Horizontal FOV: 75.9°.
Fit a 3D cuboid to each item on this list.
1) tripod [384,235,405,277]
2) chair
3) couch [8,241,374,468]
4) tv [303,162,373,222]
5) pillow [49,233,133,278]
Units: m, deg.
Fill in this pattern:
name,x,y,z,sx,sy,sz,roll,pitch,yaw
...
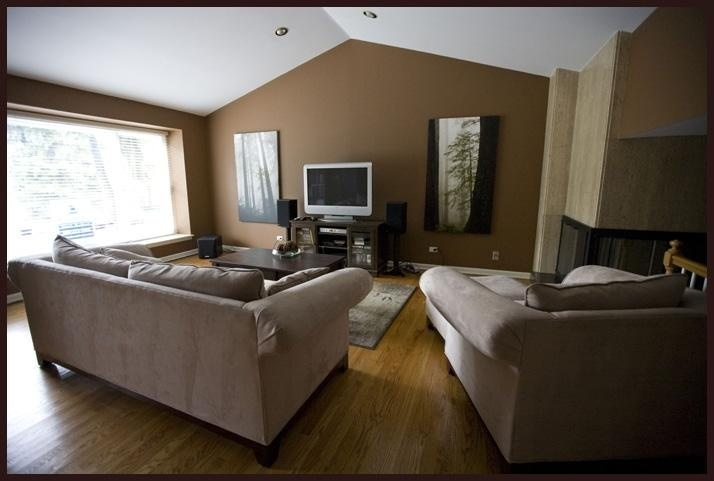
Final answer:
name,x,y,z,sx,sy,sz,roll,pitch,yaw
tripod,0.460,0.139,5.919,0.229,0.530,0.619,-1,7,4
chair,1.455,0.760,3.145,1.216,0.809,1.911,-4,7,-4
couch,-1.235,0.794,3.336,2.353,1.310,0.619,0,8,14
tv,-0.219,-0.633,5.910,0.819,0.570,0.212,3,9,19
pillow,-2.039,0.136,3.421,0.401,0.114,0.395,18,1,3
